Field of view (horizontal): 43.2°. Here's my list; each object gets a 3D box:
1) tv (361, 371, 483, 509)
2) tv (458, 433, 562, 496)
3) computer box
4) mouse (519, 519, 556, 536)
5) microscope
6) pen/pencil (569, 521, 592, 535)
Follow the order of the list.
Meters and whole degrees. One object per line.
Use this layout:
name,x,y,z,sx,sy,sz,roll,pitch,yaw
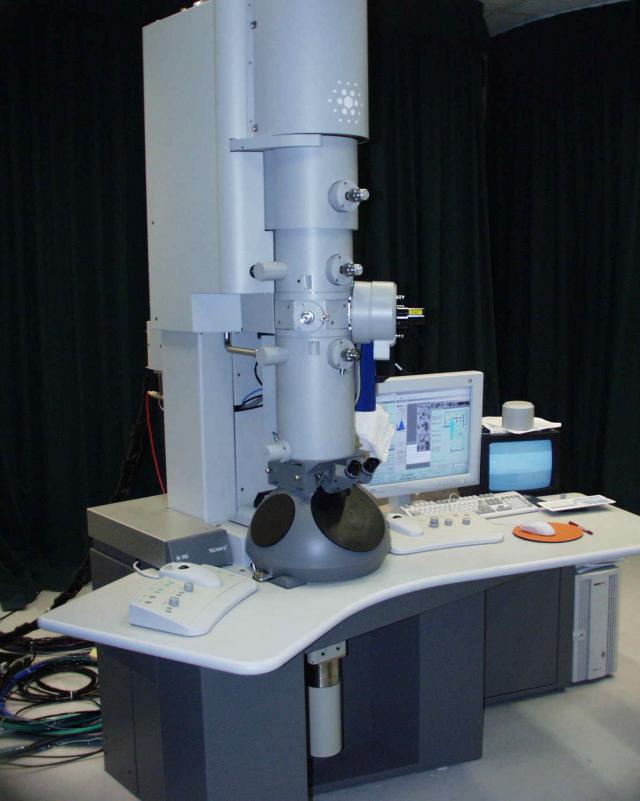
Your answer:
tv,0.260,0.098,2.094,0.356,0.339,0.145,-3,12,-28
tv,0.558,0.180,2.396,0.323,0.232,0.180,-1,5,-14
computer box,0.835,0.677,2.557,0.159,0.408,0.155,1,9,-6
mouse,0.528,0.305,1.964,0.037,0.017,0.059,-2,2,-35
microscope,0.000,0.236,1.643,0.302,0.252,0.182,-2,12,-6
pen/pencil,0.652,0.318,2.012,0.016,0.008,0.066,-5,6,-6
